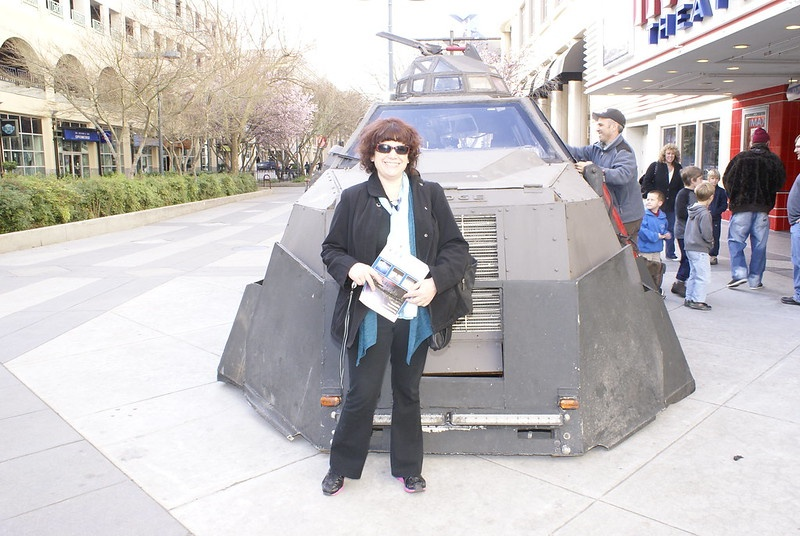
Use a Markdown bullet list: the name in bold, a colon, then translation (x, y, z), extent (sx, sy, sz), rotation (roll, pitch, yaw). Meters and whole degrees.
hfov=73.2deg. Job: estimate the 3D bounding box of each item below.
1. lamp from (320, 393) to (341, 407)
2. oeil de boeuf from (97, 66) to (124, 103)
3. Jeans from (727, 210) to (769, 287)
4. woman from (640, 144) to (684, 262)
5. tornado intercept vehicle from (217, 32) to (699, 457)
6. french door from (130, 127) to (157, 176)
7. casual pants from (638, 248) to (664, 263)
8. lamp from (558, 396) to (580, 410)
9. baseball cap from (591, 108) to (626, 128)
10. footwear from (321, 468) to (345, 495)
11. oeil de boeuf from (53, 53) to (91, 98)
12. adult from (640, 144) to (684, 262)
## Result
- **lamp**: translation (-0.560, 1.068, 4.368), extent (0.147, 0.083, 0.051), rotation (1, 11, -1)
- **oeil de boeuf**: translation (-12.973, -8.166, 23.921), extent (0.788, 1.473, 2.345), rotation (-9, 17, -28)
- **Jeans**: translation (5.831, -0.324, 9.095), extent (0.585, 1.195, 0.806), rotation (8, 17, 32)
- **woman**: translation (5.114, -1.190, 10.307), extent (0.921, 2.548, 0.817), rotation (-2, -7, 15)
- **tornado intercept vehicle**: translation (0.672, -0.433, 6.312), extent (3.431, 2.503, 4.381), rotation (0, 7, 2)
- **french door**: translation (-21.106, -9.591, 44.858), extent (1.072, 3.334, 3.548), rotation (0, 6, 13)
- **casual pants**: translation (3.375, -0.187, 7.288), extent (0.269, 0.088, 0.071), rotation (-20, -1, -20)
- **lamp**: translation (1.343, 1.074, 4.272), extent (0.132, 0.092, 0.040), rotation (0, 8, 1)
- **baseball cap**: translation (2.570, -1.874, 6.642), extent (0.374, 0.190, 0.238), rotation (10, 13, 3)
- **footwear**: translation (-0.501, 1.593, 4.032), extent (0.111, 0.081, 0.208), rotation (4, -1, 4)
- **oeil de boeuf**: translation (-14.318, -8.280, 23.381), extent (1.208, 1.761, 3.764), rotation (-10, 17, -31)
- **adult**: translation (5.107, -1.219, 10.397), extent (0.836, 2.429, 0.732), rotation (-3, -2, 21)
